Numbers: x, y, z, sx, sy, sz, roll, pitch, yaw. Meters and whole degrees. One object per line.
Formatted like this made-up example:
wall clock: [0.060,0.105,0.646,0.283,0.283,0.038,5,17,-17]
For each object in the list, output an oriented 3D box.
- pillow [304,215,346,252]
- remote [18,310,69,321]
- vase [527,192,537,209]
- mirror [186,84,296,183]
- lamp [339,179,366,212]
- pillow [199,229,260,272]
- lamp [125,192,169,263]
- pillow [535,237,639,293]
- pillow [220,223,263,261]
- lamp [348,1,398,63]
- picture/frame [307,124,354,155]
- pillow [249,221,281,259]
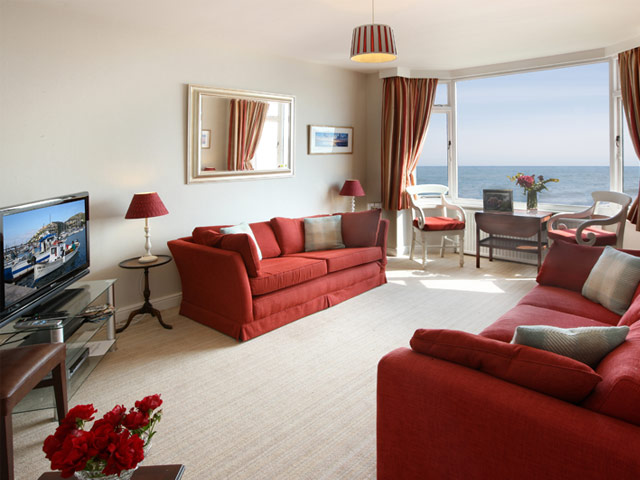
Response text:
pillow: [0.047,-0.065,5.138,0.387,0.349,0.135,-4,-18,-7]
remote: [-1.817,0.502,2.872,0.317,0.015,0.160,-2,14,-9]
vase: [2.750,-0.518,5.613,0.104,0.236,0.089,4,15,18]
mirror: [-0.896,-1.225,5.008,0.078,1.018,1.564,12,19,41]
lamp: [0.448,-0.644,6.387,0.334,0.514,0.653,0,14,3]
pillow: [-0.869,0.098,4.046,0.683,0.396,0.207,12,19,40]
lamp: [-1.653,-0.129,4.133,0.372,0.656,0.463,-7,16,-25]
pillow: [2.155,0.128,3.680,0.537,0.357,0.549,-3,1,-41]
pillow: [-0.770,-0.037,4.480,0.121,0.402,0.418,-16,4,20]
lamp: [0.438,-1.848,3.803,0.360,0.515,0.631,-1,14,-2]
picture/frame: [0.118,-1.432,6.116,0.852,0.392,0.099,-13,19,-42]
pillow: [-0.600,-0.007,4.816,0.119,0.359,0.419,-23,-6,28]
